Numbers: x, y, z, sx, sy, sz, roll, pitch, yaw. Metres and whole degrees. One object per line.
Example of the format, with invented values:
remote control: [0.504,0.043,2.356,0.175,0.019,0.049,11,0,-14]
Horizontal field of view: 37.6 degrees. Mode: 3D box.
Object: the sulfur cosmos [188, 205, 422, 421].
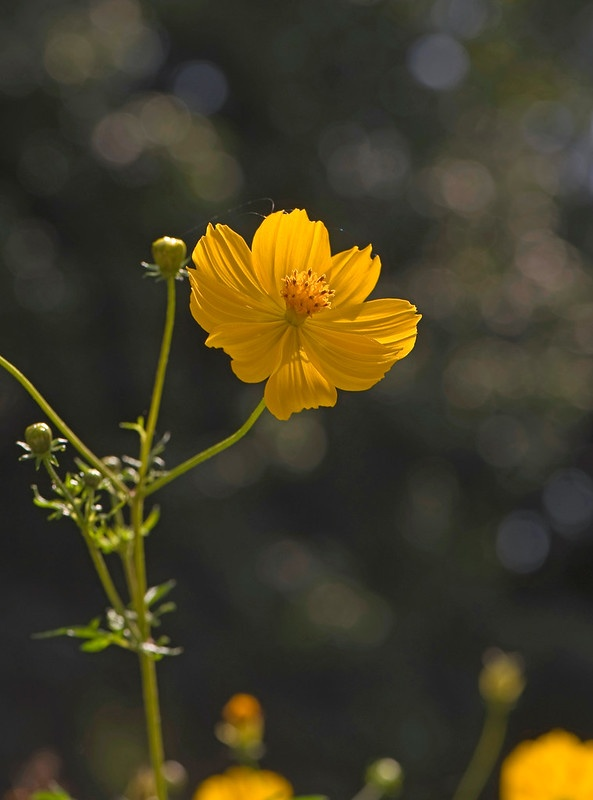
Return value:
sulfur cosmos: [0.002,-0.057,0.583,0.165,0.157,0.050,5,-98,-6]
